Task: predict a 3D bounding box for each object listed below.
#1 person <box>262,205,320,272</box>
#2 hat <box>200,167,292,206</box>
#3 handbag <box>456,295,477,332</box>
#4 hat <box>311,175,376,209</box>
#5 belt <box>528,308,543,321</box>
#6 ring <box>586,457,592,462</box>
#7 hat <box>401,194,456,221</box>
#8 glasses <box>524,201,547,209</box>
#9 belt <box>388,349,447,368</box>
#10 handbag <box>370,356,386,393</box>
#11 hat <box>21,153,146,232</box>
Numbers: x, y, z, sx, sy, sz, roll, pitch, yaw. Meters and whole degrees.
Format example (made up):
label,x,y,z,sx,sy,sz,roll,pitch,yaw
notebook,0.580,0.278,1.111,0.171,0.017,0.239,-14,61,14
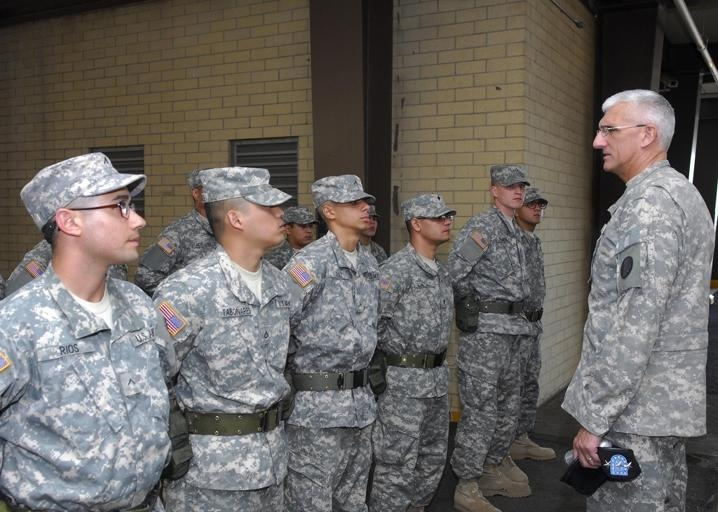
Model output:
label,x,y,z,sx,sy,sz,roll,pitch,yaw
person,-0.657,-0.214,6.745,0.541,0.704,0.814,6,11,16
hat,-0.592,-0.367,3.543,0.364,0.125,0.231,4,5,3
handbag,0.851,0.443,5.396,0.160,0.281,0.220,16,-21,-32
hat,-0.118,-0.409,4.306,0.305,0.134,0.216,-2,0,27
belt,1.433,0.482,5.633,0.106,0.064,0.135,12,37,5
ring,1.117,0.985,3.354,0.036,0.033,0.013,-1,-3,11
hat,0.474,-0.343,4.859,0.303,0.126,0.204,-3,-1,31
glasses,1.555,-0.462,6.086,0.103,0.029,0.103,4,-9,-42
belt,0.400,0.691,4.620,0.423,0.118,0.145,-3,9,-12
handbag,0.132,0.753,4.394,0.138,0.186,0.044,12,-16,-37
hat,-1.132,-0.300,2.907,0.447,0.178,0.311,-22,4,-5
